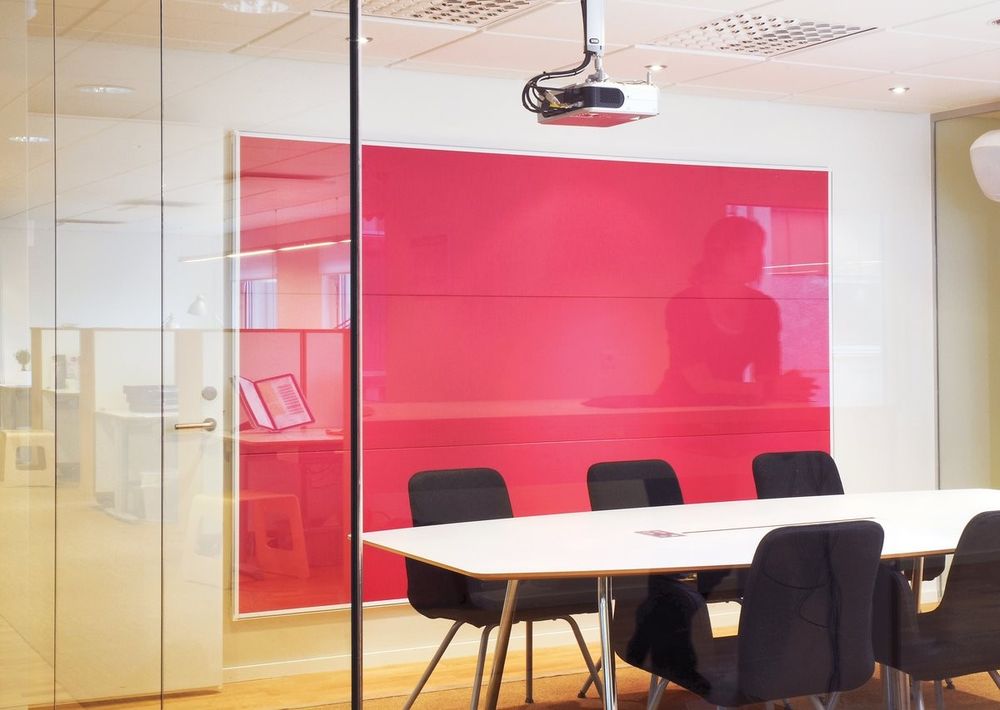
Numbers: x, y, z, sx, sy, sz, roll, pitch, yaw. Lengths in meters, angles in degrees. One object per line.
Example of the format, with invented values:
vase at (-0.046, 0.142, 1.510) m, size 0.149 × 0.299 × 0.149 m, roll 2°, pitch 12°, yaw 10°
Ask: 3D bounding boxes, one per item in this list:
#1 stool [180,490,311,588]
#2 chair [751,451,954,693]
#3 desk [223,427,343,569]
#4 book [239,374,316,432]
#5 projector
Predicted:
stool at (-0.781, 0.497, 2.647) m, size 0.371 × 0.233 × 0.273 m, roll -3°, pitch -5°, yaw 42°
chair at (1.147, 0.544, 2.954) m, size 0.433 × 0.530 × 0.478 m, roll 0°, pitch -7°, yaw -9°
desk at (-0.620, 0.434, 2.762) m, size 0.421 × 0.472 × 0.396 m, roll 0°, pitch -2°, yaw -20°
book at (-0.680, 0.141, 2.684) m, size 0.192 × 0.193 × 0.137 m, roll -16°, pitch 2°, yaw 13°
projector at (0.269, -0.811, 2.728) m, size 0.273 × 0.190 × 0.409 m, roll -1°, pitch 1°, yaw -32°
